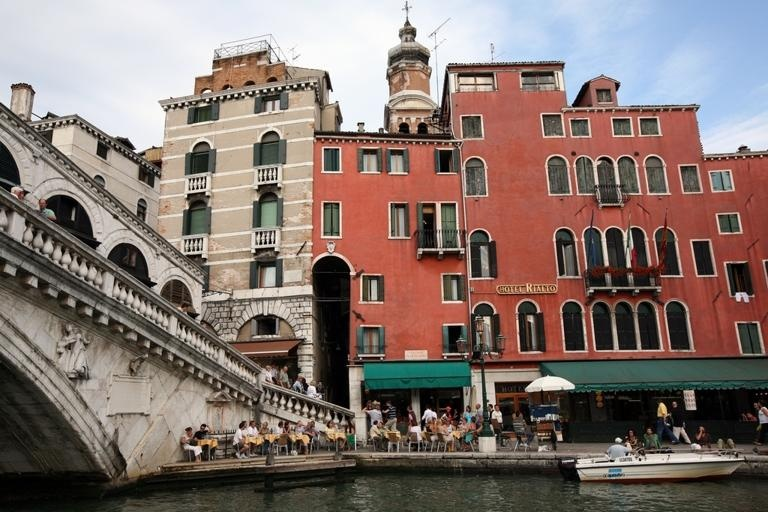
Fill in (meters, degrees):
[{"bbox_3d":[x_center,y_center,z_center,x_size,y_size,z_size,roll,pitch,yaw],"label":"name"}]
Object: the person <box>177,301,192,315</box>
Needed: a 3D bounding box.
[{"bbox_3d":[-10.411,2.683,38.817,0.583,0.782,0.891,5,0,-38],"label":"person"}]
